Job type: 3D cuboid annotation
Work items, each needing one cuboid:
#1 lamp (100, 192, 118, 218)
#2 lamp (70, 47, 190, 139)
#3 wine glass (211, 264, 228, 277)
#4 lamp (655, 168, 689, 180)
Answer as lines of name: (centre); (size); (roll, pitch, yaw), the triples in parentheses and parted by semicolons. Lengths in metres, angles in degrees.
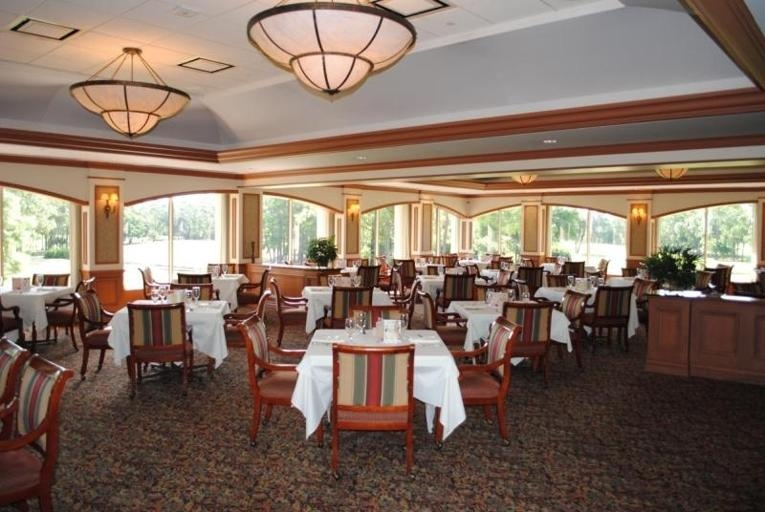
lamp: (-6.140, -1.143, 11.297); (0.318, 0.531, 0.096); (-5, 12, -29)
lamp: (-3.441, -2.221, 6.863); (1.515, 1.138, 1.476); (-2, 4, -21)
wine glass: (-3.673, 0.310, 11.184); (0.323, 0.252, 0.343); (2, -6, -31)
lamp: (7.628, -2.163, 13.122); (0.782, 0.255, 0.772); (0, -1, -6)
